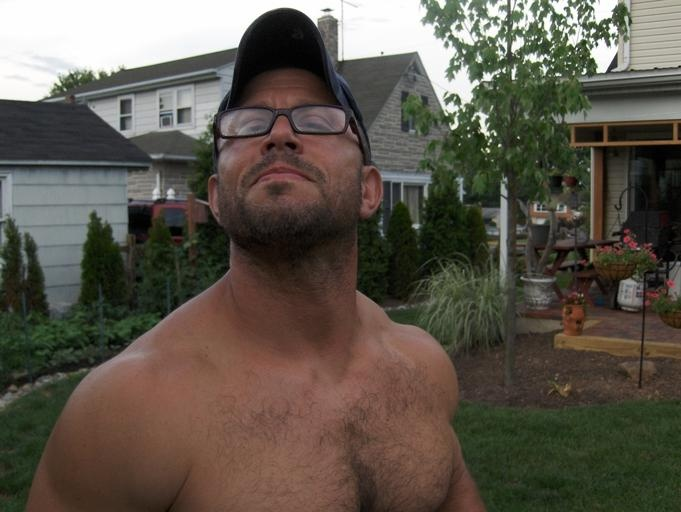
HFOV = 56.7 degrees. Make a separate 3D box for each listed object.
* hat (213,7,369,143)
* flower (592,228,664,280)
[{"bbox_3d":[-0.134,-0.552,1.844,0.324,0.327,0.600,-2,-32,2],"label":"hat"},{"bbox_3d":[3.700,0.060,8.171,0.652,0.530,0.716,-1,-1,-12],"label":"flower"}]
